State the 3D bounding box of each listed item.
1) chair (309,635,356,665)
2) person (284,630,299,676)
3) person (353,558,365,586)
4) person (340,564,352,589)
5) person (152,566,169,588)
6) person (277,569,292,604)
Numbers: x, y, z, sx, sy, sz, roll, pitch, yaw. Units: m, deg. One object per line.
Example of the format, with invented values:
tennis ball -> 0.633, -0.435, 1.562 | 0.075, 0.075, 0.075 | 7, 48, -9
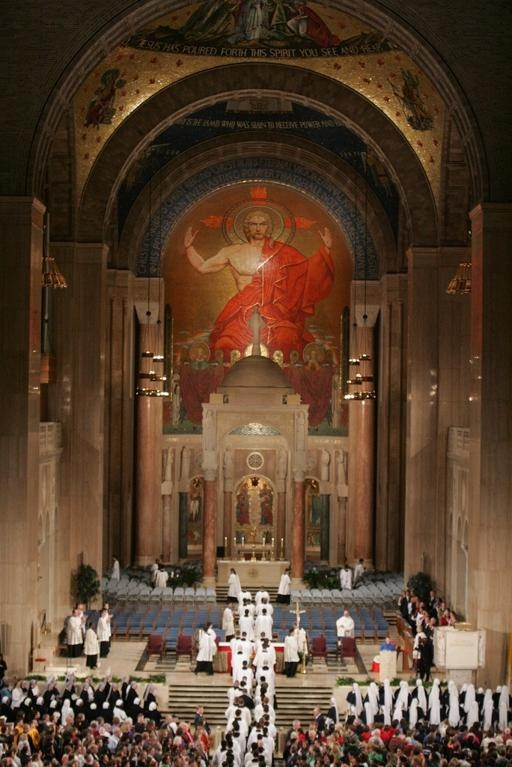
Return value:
chair -> 1.672, 5.775, 21.240 | 1.007, 0.540, 0.808 | -1, -10, 3
person -> 0.698, 5.484, 19.831 | 0.267, 0.921, 0.425 | 0, -9, 3
person -> 3.035, 5.558, 28.743 | 0.317, 1.011, 0.331 | 0, 6, -35
person -> 2.546, 5.505, 27.833 | 0.364, 0.944, 0.259 | 4, 18, 11
person -> -2.717, 5.459, 27.657 | 0.430, 0.533, 0.796 | 1, -10, -7
person -> 0.722, 5.324, 25.621 | 0.362, 0.899, 0.680 | 0, -9, 0
